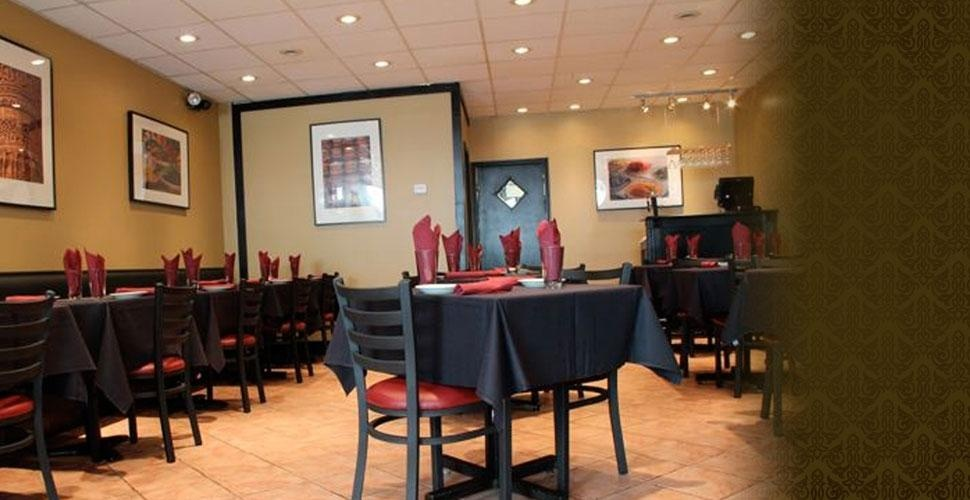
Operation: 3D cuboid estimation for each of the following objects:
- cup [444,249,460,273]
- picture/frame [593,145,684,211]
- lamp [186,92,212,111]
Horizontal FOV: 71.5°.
[{"bbox_3d":[-0.297,0.089,6.075,0.119,0.198,0.218,-4,0,-3],"label":"cup"},{"bbox_3d":[2.377,-1.049,10.183,1.349,0.780,0.041,-1,1,6],"label":"picture/frame"},{"bbox_3d":[-3.801,-1.945,8.873,0.215,0.240,0.297,-4,0,28],"label":"lamp"}]
